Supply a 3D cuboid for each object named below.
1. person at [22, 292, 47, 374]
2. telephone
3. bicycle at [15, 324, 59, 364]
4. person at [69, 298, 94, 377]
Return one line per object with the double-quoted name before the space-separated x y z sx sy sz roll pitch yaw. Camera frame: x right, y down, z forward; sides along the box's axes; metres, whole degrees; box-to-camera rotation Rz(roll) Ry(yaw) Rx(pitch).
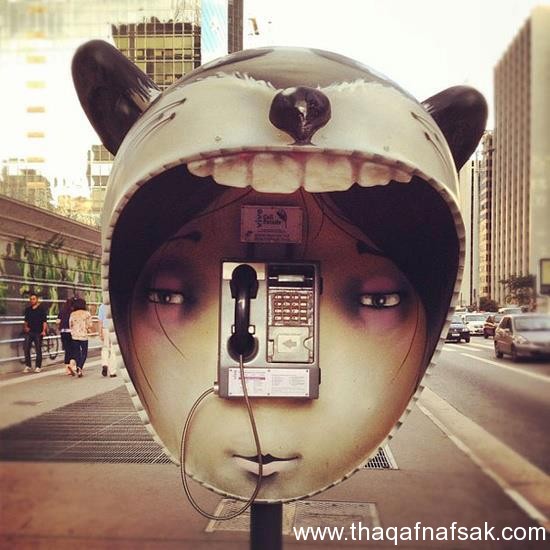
"person" -4.014 1.003 11.241 0.339 1.061 1.267 1 -1 -20
"telephone" -0.016 0.379 3.320 0.456 0.804 0.434 0 -40 1
"bicycle" -4.738 1.435 13.769 0.497 0.801 1.073 -10 -17 34
"person" -3.128 1.027 10.785 0.348 0.940 1.133 1 -1 -17
